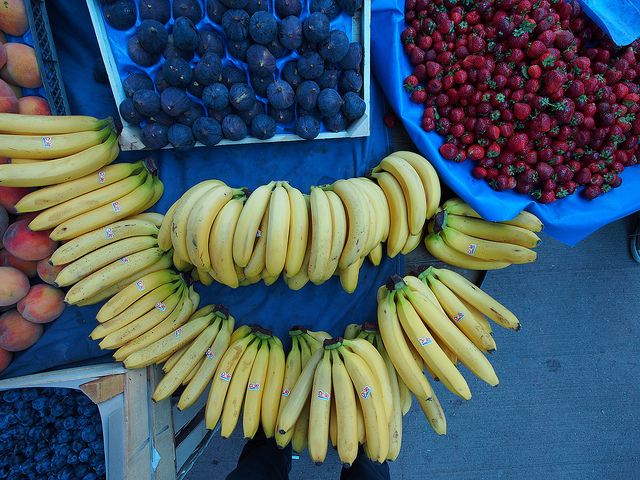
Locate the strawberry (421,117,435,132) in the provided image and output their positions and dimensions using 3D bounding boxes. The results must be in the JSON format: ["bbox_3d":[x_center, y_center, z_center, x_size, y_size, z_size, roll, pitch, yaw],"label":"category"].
[{"bbox_3d":[0.692,-0.743,3.208,0.070,0.079,0.082,23,84,21],"label":"strawberry"}]

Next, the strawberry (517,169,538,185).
[{"bbox_3d":[1.289,-0.388,3.109,0.102,0.095,0.097,8,32,7],"label":"strawberry"}]

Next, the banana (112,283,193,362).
[{"bbox_3d":[-1.038,0.509,3.067,0.476,0.130,0.155,-44,37,-10],"label":"banana"}]

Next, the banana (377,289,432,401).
[{"bbox_3d":[0.498,0.605,2.947,0.136,0.208,0.663,-25,78,24],"label":"banana"}]

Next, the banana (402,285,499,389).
[{"bbox_3d":[0.734,0.545,3.002,0.827,0.151,0.164,41,69,17],"label":"banana"}]

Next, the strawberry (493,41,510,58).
[{"bbox_3d":[1.108,-1.168,3.057,0.106,0.057,0.056,-25,103,-10],"label":"strawberry"}]

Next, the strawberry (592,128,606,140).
[{"bbox_3d":[1.716,-0.649,3.078,0.074,0.056,0.054,30,77,1],"label":"strawberry"}]

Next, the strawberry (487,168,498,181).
[{"bbox_3d":[1.087,-0.418,3.182,0.067,0.042,0.057,-23,72,-9],"label":"strawberry"}]

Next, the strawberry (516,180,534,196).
[{"bbox_3d":[1.298,-0.326,3.168,0.087,0.071,0.061,4,100,37],"label":"strawberry"}]

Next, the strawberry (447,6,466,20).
[{"bbox_3d":[0.862,-1.422,3.144,0.089,0.073,0.058,-6,98,-1],"label":"strawberry"}]

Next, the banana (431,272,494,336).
[{"bbox_3d":[0.857,0.406,3.072,0.463,0.128,0.139,46,115,0],"label":"banana"}]

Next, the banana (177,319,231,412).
[{"bbox_3d":[-0.712,0.750,3.073,0.099,0.174,0.546,14,82,34],"label":"banana"}]

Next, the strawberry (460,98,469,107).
[{"bbox_3d":[0.896,-0.863,3.127,0.039,0.038,0.047,-49,38,17],"label":"strawberry"}]

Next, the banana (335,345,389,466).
[{"bbox_3d":[0.256,0.908,2.946,0.217,0.176,0.719,-12,92,9],"label":"banana"}]

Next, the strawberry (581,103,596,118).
[{"bbox_3d":[1.635,-0.786,3.040,0.080,0.060,0.069,-31,70,25],"label":"strawberry"}]

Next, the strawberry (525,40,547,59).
[{"bbox_3d":[1.293,-1.138,2.998,0.093,0.099,0.115,-6,88,12],"label":"strawberry"}]

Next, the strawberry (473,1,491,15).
[{"bbox_3d":[1.011,-1.443,3.108,0.085,0.052,0.062,16,77,-3],"label":"strawberry"}]

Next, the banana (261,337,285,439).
[{"bbox_3d":[-0.276,0.901,3.098,0.110,0.181,0.602,2,88,4],"label":"banana"}]

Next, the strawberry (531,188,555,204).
[{"bbox_3d":[1.425,-0.275,3.182,0.097,0.077,0.070,5,68,5],"label":"strawberry"}]

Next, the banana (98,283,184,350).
[{"bbox_3d":[-1.090,0.480,3.060,0.425,0.149,0.095,-44,35,-11],"label":"banana"}]

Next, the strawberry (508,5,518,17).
[{"bbox_3d":[1.186,-1.403,3.074,0.021,0.017,0.067,23,102,-4],"label":"strawberry"}]

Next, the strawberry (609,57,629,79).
[{"bbox_3d":[1.846,-1.073,3.134,0.099,0.095,0.132,1,87,-20],"label":"strawberry"}]

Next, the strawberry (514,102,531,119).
[{"bbox_3d":[1.221,-0.783,3.035,0.101,0.054,0.078,19,77,-2],"label":"strawberry"}]

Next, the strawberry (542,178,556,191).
[{"bbox_3d":[1.433,-0.347,3.145,0.063,0.082,0.072,11,57,-9],"label":"strawberry"}]

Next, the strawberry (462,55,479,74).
[{"bbox_3d":[0.926,-1.101,3.110,0.058,0.081,0.103,27,117,7],"label":"strawberry"}]

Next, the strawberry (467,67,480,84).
[{"bbox_3d":[0.946,-1.011,3.108,0.066,0.048,0.086,-46,68,9],"label":"strawberry"}]

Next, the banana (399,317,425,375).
[{"bbox_3d":[0.528,0.613,2.918,0.064,0.115,0.346,-23,107,27],"label":"banana"}]

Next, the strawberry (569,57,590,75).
[{"bbox_3d":[1.567,-1.051,3.020,0.104,0.089,0.071,-15,31,9],"label":"strawberry"}]

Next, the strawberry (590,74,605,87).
[{"bbox_3d":[1.702,-0.961,3.068,0.089,0.036,0.078,31,64,-22],"label":"strawberry"}]

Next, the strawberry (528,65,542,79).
[{"bbox_3d":[1.287,-1.006,3.015,0.066,0.074,0.092,3,87,14],"label":"strawberry"}]

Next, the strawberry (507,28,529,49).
[{"bbox_3d":[1.185,-1.201,3.003,0.098,0.123,0.109,-13,75,-1],"label":"strawberry"}]

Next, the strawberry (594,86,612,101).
[{"bbox_3d":[1.734,-0.898,3.078,0.131,0.052,0.068,-36,100,-22],"label":"strawberry"}]

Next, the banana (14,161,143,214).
[{"bbox_3d":[-1.478,-0.315,3.020,0.464,0.089,0.087,-28,36,-8],"label":"banana"}]

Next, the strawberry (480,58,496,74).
[{"bbox_3d":[1.039,-1.066,3.113,0.077,0.090,0.086,9,42,38],"label":"strawberry"}]

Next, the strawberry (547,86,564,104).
[{"bbox_3d":[1.416,-0.863,3.005,0.071,0.056,0.108,6,81,2],"label":"strawberry"}]

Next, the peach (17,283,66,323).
[{"bbox_3d":[-1.749,0.400,3.136,0.272,0.235,0.258,-9,92,-34],"label":"peach"}]

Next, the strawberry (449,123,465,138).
[{"bbox_3d":[0.877,-0.686,3.208,0.079,0.082,0.083,3,52,34],"label":"strawberry"}]

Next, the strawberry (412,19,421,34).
[{"bbox_3d":[0.617,-1.363,3.203,0.049,0.038,0.074,1,94,27],"label":"strawberry"}]

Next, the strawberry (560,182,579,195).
[{"bbox_3d":[1.599,-0.328,3.193,0.134,0.092,0.060,-3,77,-7],"label":"strawberry"}]

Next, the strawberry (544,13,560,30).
[{"bbox_3d":[1.436,-1.341,3.077,0.101,0.060,0.087,17,75,45],"label":"strawberry"}]

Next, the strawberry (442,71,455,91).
[{"bbox_3d":[0.803,-0.992,3.138,0.067,0.030,0.101,20,99,28],"label":"strawberry"}]

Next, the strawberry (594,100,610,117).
[{"bbox_3d":[1.713,-0.801,3.054,0.084,0.066,0.074,-25,81,-10],"label":"strawberry"}]

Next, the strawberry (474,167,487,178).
[{"bbox_3d":[1.020,-0.428,3.186,0.059,0.075,0.062,39,95,16],"label":"strawberry"}]

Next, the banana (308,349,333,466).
[{"bbox_3d":[0.003,0.960,2.871,0.102,0.116,0.707,-4,76,41],"label":"banana"}]

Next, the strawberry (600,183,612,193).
[{"bbox_3d":[1.835,-0.330,3.217,0.049,0.020,0.054,-26,96,2],"label":"strawberry"}]

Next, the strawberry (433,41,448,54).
[{"bbox_3d":[0.756,-1.211,3.140,0.076,0.074,0.069,-2,45,4],"label":"strawberry"}]

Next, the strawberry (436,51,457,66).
[{"bbox_3d":[0.787,-1.136,3.137,0.095,0.087,0.097,9,84,8],"label":"strawberry"}]

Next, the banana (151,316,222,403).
[{"bbox_3d":[-0.819,0.719,3.081,0.099,0.167,0.537,42,75,-31],"label":"banana"}]

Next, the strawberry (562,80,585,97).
[{"bbox_3d":[1.523,-0.906,3.006,0.102,0.089,0.100,-4,60,44],"label":"strawberry"}]

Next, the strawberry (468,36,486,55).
[{"bbox_3d":[0.972,-1.206,3.098,0.105,0.062,0.093,2,78,-6],"label":"strawberry"}]

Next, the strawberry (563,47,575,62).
[{"bbox_3d":[1.502,-1.119,3.024,0.072,0.068,0.063,4,50,48],"label":"strawberry"}]

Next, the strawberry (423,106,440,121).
[{"bbox_3d":[0.723,-0.814,3.269,0.090,0.094,0.090,-1,43,-6],"label":"strawberry"}]

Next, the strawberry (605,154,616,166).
[{"bbox_3d":[1.816,-0.497,3.134,0.031,0.062,0.061,26,67,31],"label":"strawberry"}]

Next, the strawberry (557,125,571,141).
[{"bbox_3d":[1.489,-0.649,3.058,0.059,0.041,0.082,42,117,32],"label":"strawberry"}]

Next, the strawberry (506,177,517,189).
[{"bbox_3d":[1.212,-0.359,3.157,0.055,0.031,0.065,4,89,-7],"label":"strawberry"}]

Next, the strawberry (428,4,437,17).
[{"bbox_3d":[0.713,-1.454,3.178,0.052,0.058,0.051,36,117,0],"label":"strawberry"}]

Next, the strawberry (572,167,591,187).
[{"bbox_3d":[1.646,-0.397,3.170,0.081,0.113,0.066,26,39,-2],"label":"strawberry"}]

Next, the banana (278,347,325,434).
[{"bbox_3d":[-0.111,0.896,2.971,0.139,0.125,0.578,34,71,-17],"label":"banana"}]

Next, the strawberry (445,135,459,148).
[{"bbox_3d":[0.849,-0.635,3.226,0.059,0.066,0.083,-6,74,46],"label":"strawberry"}]

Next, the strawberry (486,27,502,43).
[{"bbox_3d":[1.071,-1.254,3.080,0.083,0.050,0.063,-47,47,-2],"label":"strawberry"}]
